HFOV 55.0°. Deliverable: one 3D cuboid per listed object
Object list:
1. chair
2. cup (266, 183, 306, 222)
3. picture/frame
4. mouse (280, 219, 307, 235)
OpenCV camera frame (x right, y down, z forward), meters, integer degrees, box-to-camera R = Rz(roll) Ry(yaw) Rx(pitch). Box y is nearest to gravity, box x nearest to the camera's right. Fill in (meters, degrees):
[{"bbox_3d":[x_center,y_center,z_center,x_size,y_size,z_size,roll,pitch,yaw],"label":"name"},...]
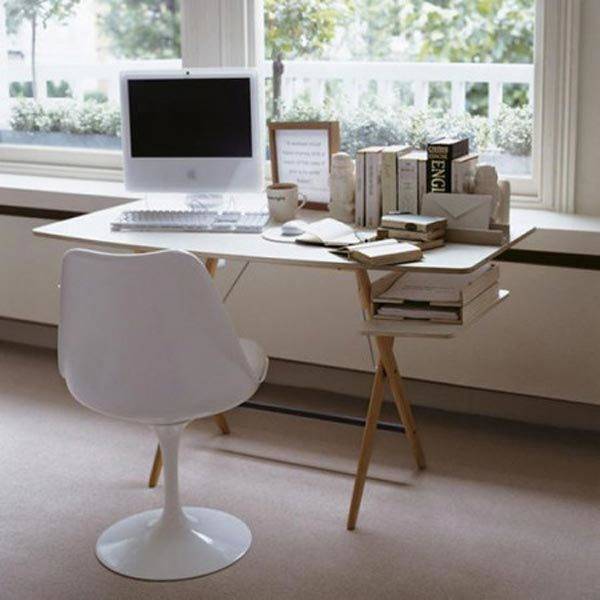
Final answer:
[{"bbox_3d":[-0.292,0.223,1.283,0.402,0.684,0.428,3,7,16],"label":"chair"},{"bbox_3d":[-0.045,-0.297,1.760,0.098,0.107,0.115,-20,31,-35],"label":"cup"},{"bbox_3d":[0.016,-0.428,1.853,0.279,0.352,0.066,8,20,30],"label":"picture/frame"},{"bbox_3d":[-0.015,-0.202,1.581,0.049,0.019,0.052,-6,24,7],"label":"mouse"}]
